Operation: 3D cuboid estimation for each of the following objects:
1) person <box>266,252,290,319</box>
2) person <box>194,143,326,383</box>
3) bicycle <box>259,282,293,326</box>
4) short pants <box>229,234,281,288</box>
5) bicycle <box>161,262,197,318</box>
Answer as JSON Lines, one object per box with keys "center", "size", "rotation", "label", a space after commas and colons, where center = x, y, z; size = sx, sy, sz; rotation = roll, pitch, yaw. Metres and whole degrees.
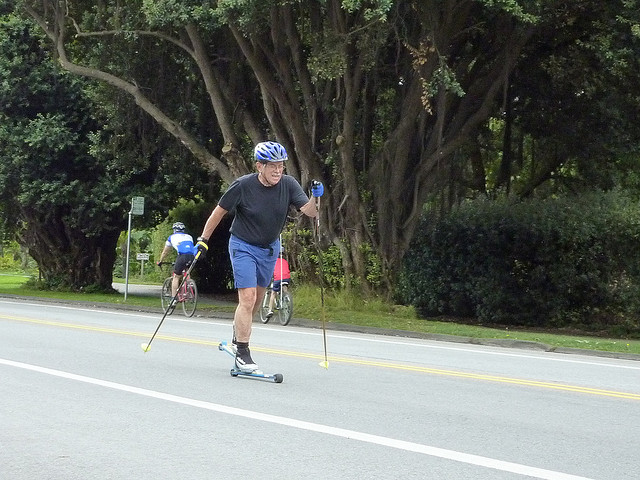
{"center": [-1.067, 1.195, 16.354], "size": [0.737, 1.040, 1.590], "rotation": [2, 0, -6], "label": "person"}
{"center": [-0.709, 0.242, 8.222], "size": [1.389, 2.850, 0.840], "rotation": [9, 6, 32], "label": "person"}
{"center": [-1.270, 1.659, 16.443], "size": [0.608, 0.866, 1.274], "rotation": [4, -2, -24], "label": "bicycle"}
{"center": [-0.790, 0.212, 8.260], "size": [0.563, 0.861, 0.473], "rotation": [-1, 14, -34], "label": "short pants"}
{"center": [-3.870, 1.393, 18.170], "size": [0.606, 1.498, 2.311], "rotation": [3, -3, -37], "label": "bicycle"}
